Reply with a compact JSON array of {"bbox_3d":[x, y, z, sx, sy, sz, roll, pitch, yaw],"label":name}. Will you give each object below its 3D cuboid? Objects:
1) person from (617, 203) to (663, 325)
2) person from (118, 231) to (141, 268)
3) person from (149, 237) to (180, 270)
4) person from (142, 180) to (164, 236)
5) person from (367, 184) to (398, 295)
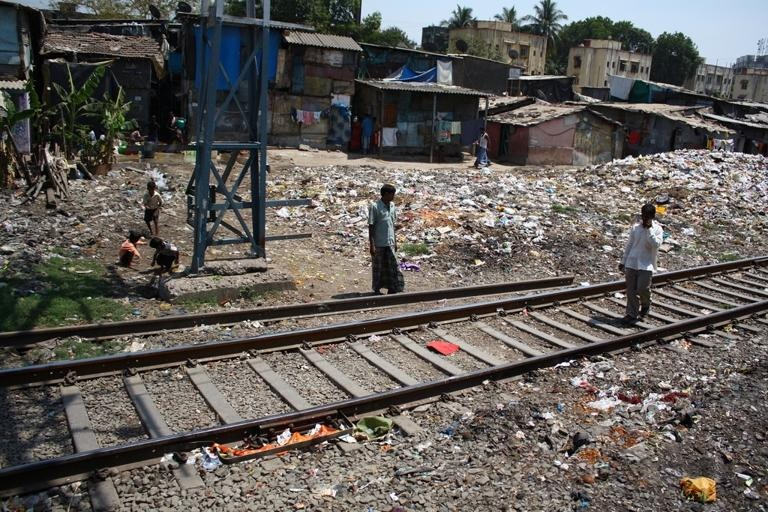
[{"bbox_3d":[4.517,0.120,8.949,0.620,2.106,0.772,11,19,26],"label":"person"},{"bbox_3d":[-5.129,-0.094,10.163,0.232,0.461,0.716,2,22,-34],"label":"person"},{"bbox_3d":[-4.290,-0.028,9.817,0.719,0.673,0.396,10,18,26],"label":"person"},{"bbox_3d":[-5.394,-1.143,11.744,0.411,1.239,1.307,-5,17,-23],"label":"person"},{"bbox_3d":[0.020,-0.249,9.499,0.685,2.147,0.528,2,17,-1],"label":"person"}]
